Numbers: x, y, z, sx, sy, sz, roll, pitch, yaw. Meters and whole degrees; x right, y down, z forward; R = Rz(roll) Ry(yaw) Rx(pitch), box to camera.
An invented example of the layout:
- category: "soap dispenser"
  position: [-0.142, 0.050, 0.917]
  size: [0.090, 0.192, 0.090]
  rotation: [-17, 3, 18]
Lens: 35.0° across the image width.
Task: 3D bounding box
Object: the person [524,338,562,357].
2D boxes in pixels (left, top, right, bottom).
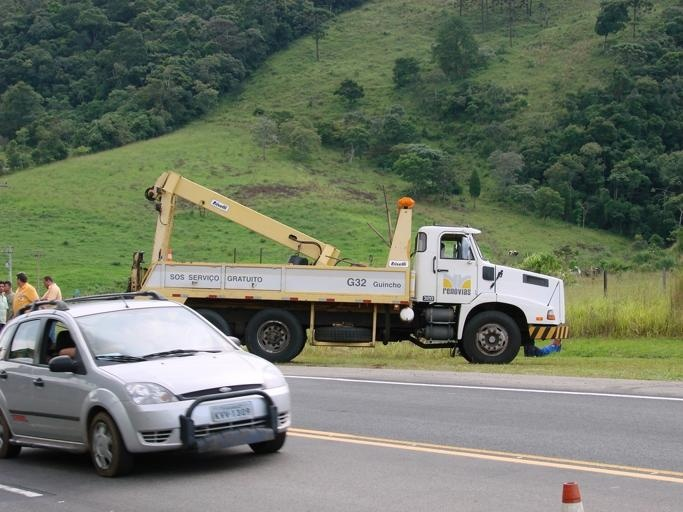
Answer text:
- category: "person"
  position: [7.970, 3.798, 43.919]
  size: [1.337, 0.629, 0.855]
  rotation: [1, -1, -13]

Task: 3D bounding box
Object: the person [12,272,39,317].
- category: "person"
  position: [-12.710, 1.518, 43.700]
  size: [0.569, 1.441, 0.989]
  rotation: [14, -42, -30]

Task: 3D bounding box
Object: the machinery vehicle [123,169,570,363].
- category: "machinery vehicle"
  position: [1.236, 1.025, 46.173]
  size: [19.918, 10.151, 7.252]
  rotation: [0, 1, 1]
